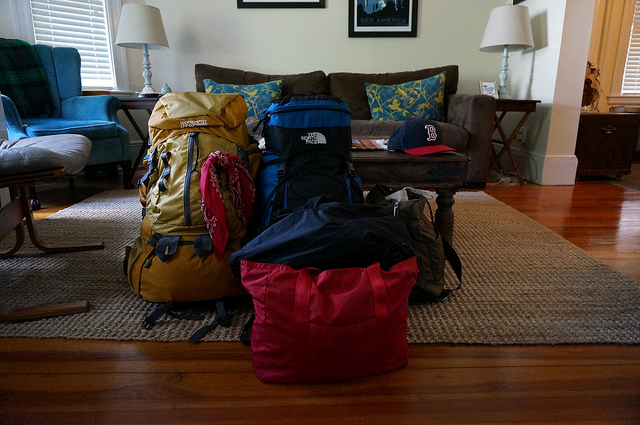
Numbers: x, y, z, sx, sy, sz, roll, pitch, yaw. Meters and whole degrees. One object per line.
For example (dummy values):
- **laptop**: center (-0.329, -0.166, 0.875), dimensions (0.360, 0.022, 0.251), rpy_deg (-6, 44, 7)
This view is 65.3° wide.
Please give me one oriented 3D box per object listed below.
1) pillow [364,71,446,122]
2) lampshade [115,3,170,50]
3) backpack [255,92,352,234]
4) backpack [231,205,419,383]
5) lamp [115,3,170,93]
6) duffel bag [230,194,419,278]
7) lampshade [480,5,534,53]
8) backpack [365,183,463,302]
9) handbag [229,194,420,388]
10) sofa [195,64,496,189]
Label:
- **pillow**: center (0.734, -0.963, 4.219), dimensions (0.754, 0.448, 0.196), rpy_deg (-3, -11, 6)
- **lampshade**: center (-1.502, -1.554, 4.163), dimensions (0.405, 0.340, 0.165), rpy_deg (-8, 21, -16)
- **backpack**: center (-0.063, -0.220, 2.718), dimensions (0.591, 0.801, 0.481), rpy_deg (-1, 14, -4)
- **backpack**: center (-0.005, 0.341, 2.167), dimensions (0.888, 0.698, 0.468), rpy_deg (-2, 15, -17)
- **lamp**: center (-1.489, -1.374, 4.317), dimensions (0.436, 0.731, 0.398), rpy_deg (-4, 16, -16)
- **duffel bag**: center (0.040, 0.104, 2.117), dimensions (0.558, 0.182, 0.420), rpy_deg (-1, 13, -1)
- **lampshade**: center (1.543, -1.516, 4.249), dimensions (0.464, 0.386, 0.403), rpy_deg (5, 13, 8)
- **backpack**: center (0.507, 0.144, 2.595), dimensions (0.470, 0.538, 0.477), rpy_deg (-8, 8, 10)
- **handbag**: center (0.065, 0.264, 2.336), dimensions (0.851, 0.659, 0.780), rpy_deg (0, 7, 5)
- **sofa**: center (0.580, -0.960, 4.362), dimensions (3.211, 1.129, 1.062), rpy_deg (0, 22, 3)
